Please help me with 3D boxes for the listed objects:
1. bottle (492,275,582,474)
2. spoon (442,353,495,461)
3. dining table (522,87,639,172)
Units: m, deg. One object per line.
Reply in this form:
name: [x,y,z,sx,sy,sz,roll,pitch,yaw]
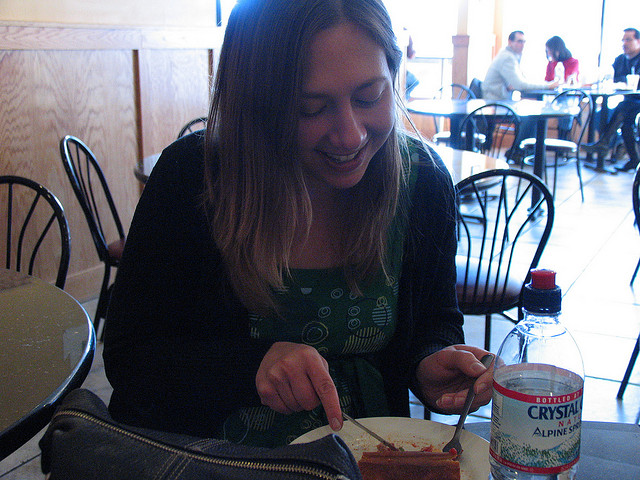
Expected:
bottle: [0.347,0.203,0.904,0.126,0.320,0.192,6,15,22]
spoon: [0.257,0.331,1.044,0.030,0.016,0.194,-3,24,33]
dining table: [3.098,-1.385,6.753,1.065,0.860,1.104,15,36,29]
